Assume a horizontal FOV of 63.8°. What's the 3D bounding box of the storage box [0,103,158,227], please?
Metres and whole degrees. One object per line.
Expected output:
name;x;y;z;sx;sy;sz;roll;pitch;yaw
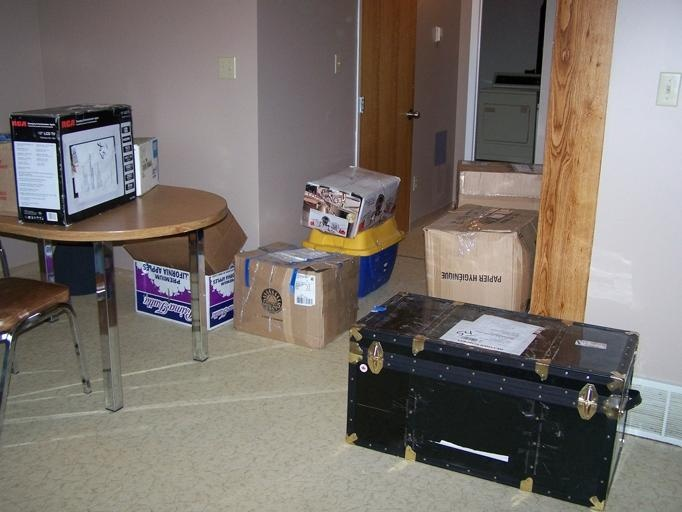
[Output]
storage box;-1.135;-0.375;2.380;0.294;0.435;0.562;5;14;19

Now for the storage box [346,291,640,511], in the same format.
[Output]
storage box;0.589;0.567;2.264;1.030;0.572;0.520;10;15;28

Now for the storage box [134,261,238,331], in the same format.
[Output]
storage box;-0.962;0.221;3.525;0.574;0.323;0.427;9;10;28

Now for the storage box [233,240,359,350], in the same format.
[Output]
storage box;-0.245;0.232;3.355;0.484;0.505;0.661;-11;-14;20

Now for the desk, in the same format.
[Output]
desk;-0.917;-0.001;2.729;1.050;0.741;1.091;16;25;27

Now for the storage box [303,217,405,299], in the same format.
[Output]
storage box;0.128;-0.028;3.921;0.492;0.502;0.711;5;16;29

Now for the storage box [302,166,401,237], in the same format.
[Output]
storage box;0.077;-0.384;3.718;0.452;0.316;0.631;21;30;31

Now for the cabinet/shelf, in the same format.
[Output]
cabinet/shelf;2.021;-1.531;6.937;0.768;1.065;0.635;7;-17;-2

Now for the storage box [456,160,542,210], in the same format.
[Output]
storage box;1.046;-0.482;3.698;0.541;0.277;0.496;7;14;16

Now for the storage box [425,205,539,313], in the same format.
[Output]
storage box;0.719;0.215;3.220;0.504;0.482;0.724;3;-23;6
